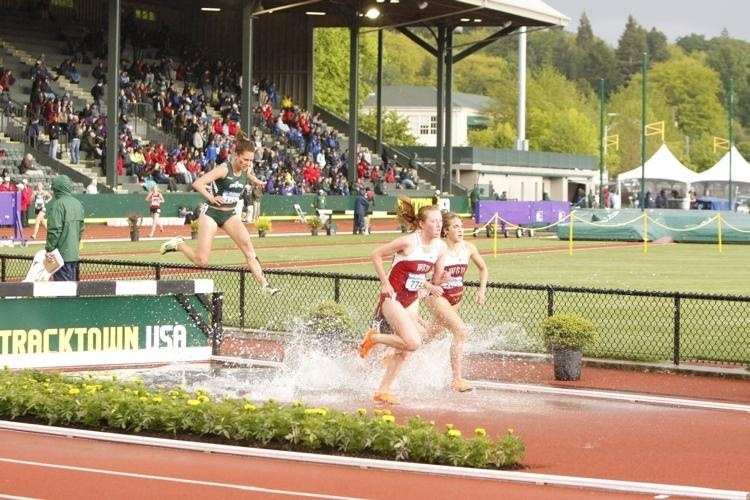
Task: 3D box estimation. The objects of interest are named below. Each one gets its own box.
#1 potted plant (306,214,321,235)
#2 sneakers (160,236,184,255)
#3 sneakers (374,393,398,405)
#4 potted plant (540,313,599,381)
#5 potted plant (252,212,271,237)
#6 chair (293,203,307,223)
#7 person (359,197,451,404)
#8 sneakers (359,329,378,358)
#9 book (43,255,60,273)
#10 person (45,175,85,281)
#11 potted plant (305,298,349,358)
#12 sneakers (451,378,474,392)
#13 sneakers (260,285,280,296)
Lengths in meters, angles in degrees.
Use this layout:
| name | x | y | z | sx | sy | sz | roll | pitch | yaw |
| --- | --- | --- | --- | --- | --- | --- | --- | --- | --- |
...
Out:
| name | x | y | z | sx | sy | sz | roll | pitch | yaw |
| --- | --- | --- | --- | --- | --- | --- | --- | --- | --- |
| potted plant | -2.562 | -1.089 | 44.041 | 0.821 | 0.940 | 0.674 | 0 | 1 | -7 |
| sneakers | -4.341 | -0.099 | 22.265 | 0.589 | 0.268 | 0.260 | -34 | -21 | 17 |
| sneakers | 0.158 | 2.171 | 15.304 | 0.361 | 0.133 | 0.157 | 7 | -38 | 5 |
| potted plant | 3.126 | 1.570 | 16.751 | 0.826 | 1.031 | 0.410 | 0 | 2 | 14 |
| potted plant | -4.573 | -1.000 | 41.317 | 0.737 | 0.883 | 0.823 | -1 | 1 | 7 |
| chair | -3.530 | -1.778 | 49.344 | 0.786 | 1.148 | 0.629 | 2 | 5 | 24 |
| person | 0.463 | 0.722 | 15.638 | 1.219 | 2.981 | 1.020 | -1 | 2 | 3 |
| sneakers | -0.103 | 1.368 | 15.587 | 0.198 | 0.515 | 0.175 | 17 | 4 | 8 |
| book | -5.751 | 0.243 | 18.526 | 0.274 | 0.292 | 0.070 | -37 | -9 | 23 |
| person | -5.598 | -0.411 | 18.728 | 0.624 | 1.894 | 0.534 | -1 | 2 | -18 |
| potted plant | -0.798 | 1.322 | 18.682 | 0.837 | 0.717 | 1.200 | -1 | 2 | -8 |
| sneakers | 1.352 | 2.071 | 15.996 | 0.304 | 0.170 | 0.190 | -1 | 2 | 6 |
| sneakers | -1.796 | 0.648 | 17.903 | 0.206 | 0.177 | 0.447 | 34 | -27 | -34 |
